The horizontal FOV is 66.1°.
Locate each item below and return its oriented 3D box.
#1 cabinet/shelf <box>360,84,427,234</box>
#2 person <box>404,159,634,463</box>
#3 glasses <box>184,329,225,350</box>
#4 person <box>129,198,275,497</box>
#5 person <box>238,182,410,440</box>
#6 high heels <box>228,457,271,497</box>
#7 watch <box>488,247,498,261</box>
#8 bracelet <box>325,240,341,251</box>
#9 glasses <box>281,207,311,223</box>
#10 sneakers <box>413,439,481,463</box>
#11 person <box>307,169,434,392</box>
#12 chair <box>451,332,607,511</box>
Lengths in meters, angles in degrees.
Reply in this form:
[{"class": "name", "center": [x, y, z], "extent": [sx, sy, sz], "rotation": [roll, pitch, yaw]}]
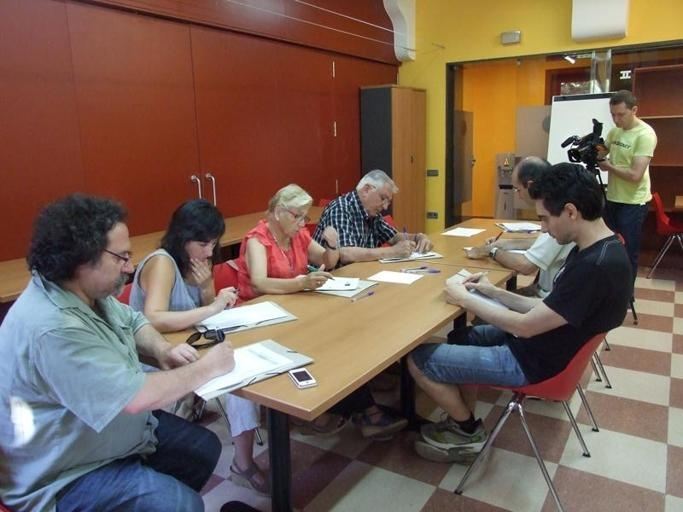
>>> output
[{"class": "cabinet/shelf", "center": [0.821, -1.383, 7.618], "extent": [0.441, 2.147, 0.894], "rotation": [18, 47, 30]}, {"class": "person", "center": [0.900, 0.357, 2.714], "extent": [1.002, 1.627, 0.710], "rotation": [5, 7, 33]}, {"class": "glasses", "center": [-0.626, 0.379, 2.399], "extent": [0.095, 0.042, 0.123], "rotation": [11, 14, 37]}, {"class": "person", "center": [-0.761, 0.430, 2.806], "extent": [0.833, 1.447, 0.612], "rotation": [9, 16, 32]}, {"class": "person", "center": [-0.139, 0.282, 3.259], "extent": [1.249, 1.504, 0.653], "rotation": [4, 9, 38]}, {"class": "high heels", "center": [-0.452, 1.148, 2.749], "extent": [0.283, 0.130, 0.151], "rotation": [12, 16, 9]}, {"class": "watch", "center": [1.034, -0.028, 3.557], "extent": [0.050, 0.074, 0.080], "rotation": [5, -3, 13]}, {"class": "bracelet", "center": [-0.078, -0.084, 3.687], "extent": [0.067, 0.031, 0.064], "rotation": [-5, 20, 17]}, {"class": "glasses", "center": [-0.299, -0.258, 3.189], "extent": [0.100, 0.032, 0.100], "rotation": [29, 9, 33]}, {"class": "sneakers", "center": [0.567, 1.074, 2.835], "extent": [0.326, 0.155, 0.126], "rotation": [0, 9, 18]}, {"class": "person", "center": [0.182, -0.169, 4.008], "extent": [0.708, 1.021, 0.967], "rotation": [2, 11, -34]}, {"class": "chair", "center": [1.141, 0.640, 2.940], "extent": [0.800, 1.111, 1.098], "rotation": [4, 12, 30]}]
